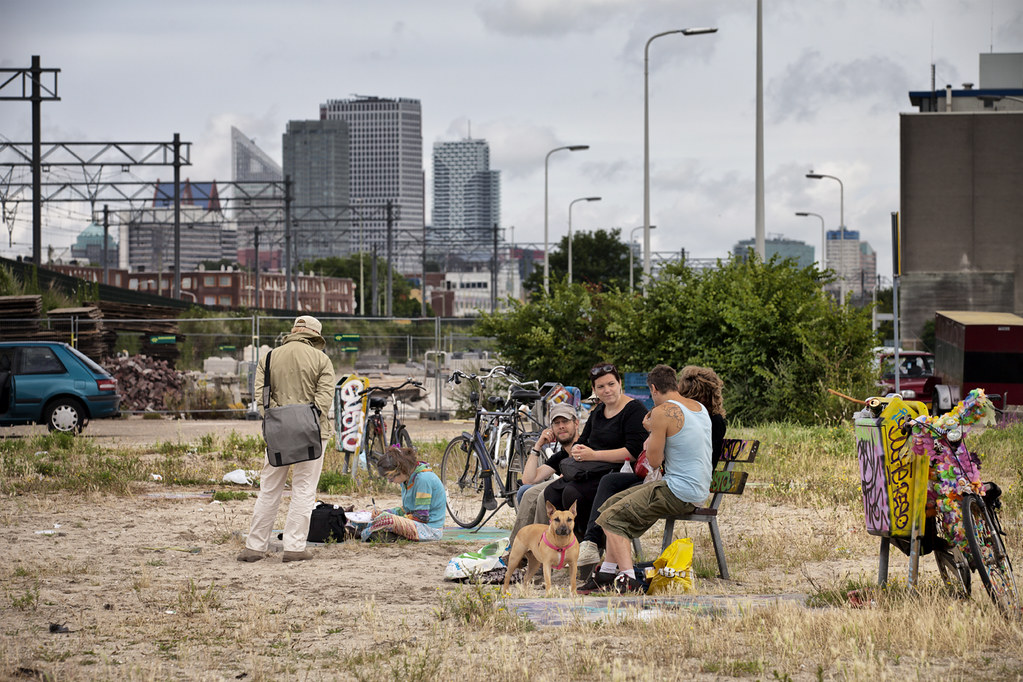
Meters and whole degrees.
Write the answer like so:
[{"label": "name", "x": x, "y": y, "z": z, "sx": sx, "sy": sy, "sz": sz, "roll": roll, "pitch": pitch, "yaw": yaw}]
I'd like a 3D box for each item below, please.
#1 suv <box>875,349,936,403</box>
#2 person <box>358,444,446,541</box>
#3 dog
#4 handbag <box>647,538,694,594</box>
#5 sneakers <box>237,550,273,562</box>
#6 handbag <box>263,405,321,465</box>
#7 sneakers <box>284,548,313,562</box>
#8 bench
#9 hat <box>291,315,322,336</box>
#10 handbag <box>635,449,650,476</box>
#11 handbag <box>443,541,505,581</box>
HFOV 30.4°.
[{"label": "suv", "x": 10.140, "y": 0.899, "z": 48.503, "sx": 1.082, "sy": 0.981, "sz": 1.880, "roll": 0, "pitch": -4, "yaw": -3}, {"label": "person", "x": -1.921, "y": 2.792, "z": 34.819, "sx": 1.376, "sy": 1.707, "sz": 0.525, "roll": -1, "pitch": 0, "yaw": -4}, {"label": "dog", "x": 0.558, "y": 3.614, "z": 32.386, "sx": 0.661, "sy": 1.624, "sz": 2.132, "roll": 3, "pitch": -7, "yaw": -27}, {"label": "handbag", "x": 2.720, "y": 3.793, "z": 31.904, "sx": 0.808, "sy": 0.883, "sz": 0.336, "roll": 17, "pitch": 9, "yaw": 20}, {"label": "sneakers", "x": -4.639, "y": 3.761, "z": 33.570, "sx": 0.543, "sy": 0.247, "sz": 0.202, "roll": -1, "pitch": 0, "yaw": -15}, {"label": "handbag", "x": -3.933, "y": 1.676, "z": 33.629, "sx": 0.804, "sy": 0.858, "sz": 0.328, "roll": -8, "pitch": -11, "yaw": -13}, {"label": "sneakers", "x": -3.803, "y": 3.767, "z": 33.674, "sx": 0.540, "sy": 0.252, "sz": 0.190, "roll": -6, "pitch": 10, "yaw": -31}, {"label": "bench", "x": 3.089, "y": 2.931, "z": 33.229, "sx": 1.702, "sy": 2.404, "sz": 2.275, "roll": 4, "pitch": -1, "yaw": -7}, {"label": "hat", "x": -3.765, "y": -0.271, "z": 34.260, "sx": 0.422, "sy": 0.258, "sz": 0.339, "roll": 7, "pitch": 0, "yaw": 32}, {"label": "handbag", "x": 2.285, "y": 2.102, "z": 32.693, "sx": 0.265, "sy": 0.581, "sz": 0.549, "roll": 0, "pitch": -1, "yaw": -1}, {"label": "handbag", "x": -0.651, "y": 3.820, "z": 32.810, "sx": 0.927, "sy": 0.356, "sz": 0.583, "roll": -17, "pitch": 3, "yaw": -39}]
